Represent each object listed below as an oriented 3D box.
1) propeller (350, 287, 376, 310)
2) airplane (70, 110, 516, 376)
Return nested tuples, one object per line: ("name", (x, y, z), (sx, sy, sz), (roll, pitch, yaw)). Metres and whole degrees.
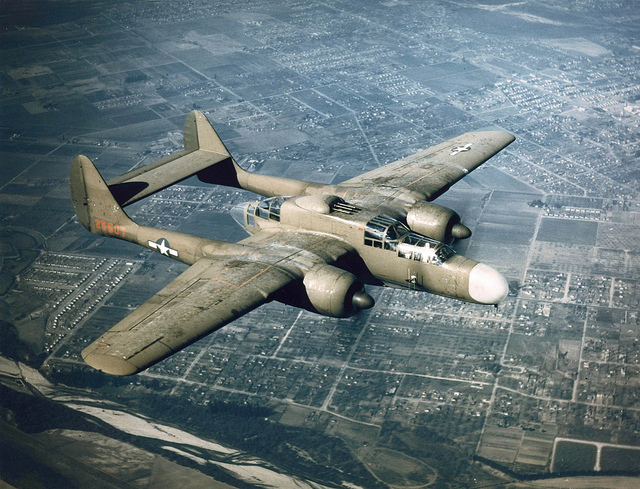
("propeller", (3.712, 5.011, 49.905), (1.456, 1.507, 1.985), (-17, 32, -31))
("airplane", (-3.275, -2.474, 54.565), (42.230, 17.369, 36.326), (7, 23, 14))
